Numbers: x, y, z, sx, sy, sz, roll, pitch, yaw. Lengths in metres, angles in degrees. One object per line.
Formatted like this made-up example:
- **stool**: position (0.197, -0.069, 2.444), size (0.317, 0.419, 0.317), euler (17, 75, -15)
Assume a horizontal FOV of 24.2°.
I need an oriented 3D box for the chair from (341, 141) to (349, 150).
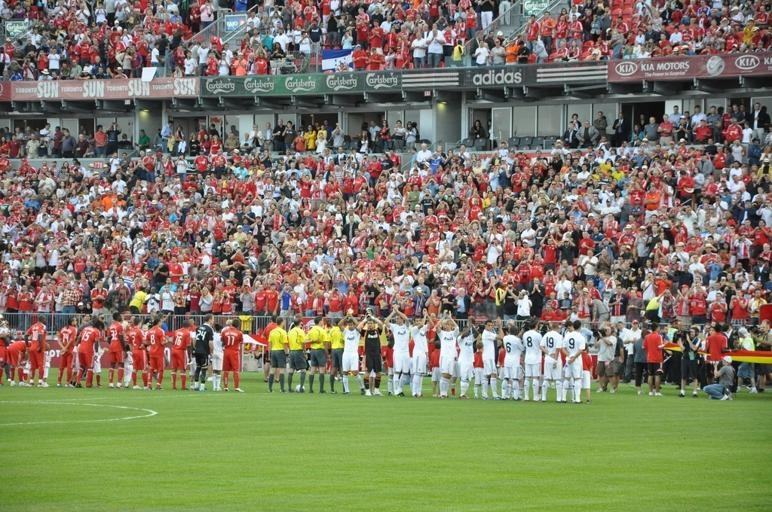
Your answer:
- **chair**: position (-1.968, -5.420, 87.820), size (0.390, 0.546, 0.430), euler (0, -5, 4)
